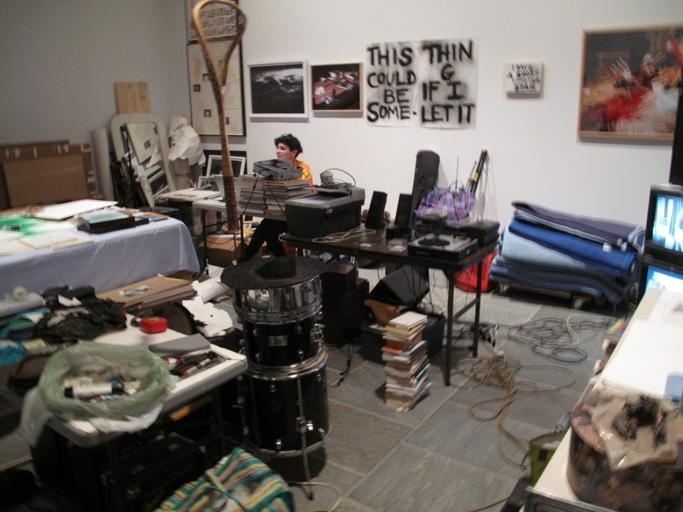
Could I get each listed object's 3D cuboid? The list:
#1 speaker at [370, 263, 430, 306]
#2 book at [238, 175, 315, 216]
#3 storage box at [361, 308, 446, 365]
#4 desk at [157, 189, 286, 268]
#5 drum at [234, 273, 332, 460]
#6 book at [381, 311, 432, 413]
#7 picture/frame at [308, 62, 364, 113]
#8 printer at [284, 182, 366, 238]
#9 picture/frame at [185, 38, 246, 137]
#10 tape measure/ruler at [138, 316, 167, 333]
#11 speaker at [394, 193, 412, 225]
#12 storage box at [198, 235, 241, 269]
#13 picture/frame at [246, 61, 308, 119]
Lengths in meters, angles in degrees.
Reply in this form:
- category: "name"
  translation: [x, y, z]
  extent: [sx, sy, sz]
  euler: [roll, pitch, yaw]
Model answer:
- category: "speaker"
  translation: [0.570, 0.243, 4.314]
  extent: [0.314, 0.167, 0.473]
  euler: [7, 15, 28]
- category: "book"
  translation: [-0.712, -0.593, 4.765]
  extent: [0.631, 0.309, 0.471]
  euler: [11, 19, 33]
- category: "storage box"
  translation: [0.502, 0.645, 4.122]
  extent: [0.482, 0.292, 0.492]
  euler: [8, 17, 31]
- category: "desk"
  translation: [-1.262, -0.293, 5.153]
  extent: [0.837, 0.540, 0.512]
  euler: [16, 28, 33]
- category: "drum"
  translation: [-0.334, 0.636, 2.814]
  extent: [0.504, 1.002, 0.333]
  euler: [-5, 19, -6]
- category: "book"
  translation: [0.467, 0.761, 3.613]
  extent: [0.331, 0.619, 0.428]
  euler: [7, 21, 26]
- category: "picture/frame"
  translation: [-0.037, -2.253, 6.428]
  extent: [0.720, 0.529, 0.100]
  euler: [8, 16, 29]
- category: "printer"
  translation: [-0.137, -0.450, 4.406]
  extent: [0.459, 0.423, 0.637]
  euler: [12, 21, 36]
- category: "picture/frame"
  translation: [-1.956, -2.608, 7.612]
  extent: [0.528, 1.428, 1.237]
  euler: [-16, 23, -34]
- category: "tape measure/ruler"
  translation: [-1.045, 0.365, 2.702]
  extent: [0.095, 0.063, 0.098]
  euler: [6, 6, 37]
- category: "speaker"
  translation: [0.528, -0.398, 4.138]
  extent: [0.136, 0.276, 0.131]
  euler: [-1, 19, 6]
- category: "storage box"
  translation: [-1.518, -0.040, 6.041]
  extent: [0.355, 0.227, 0.256]
  euler: [11, 21, 29]
- category: "picture/frame"
  translation: [-0.878, -2.390, 6.932]
  extent: [0.907, 0.674, 0.038]
  euler: [10, 18, 31]
